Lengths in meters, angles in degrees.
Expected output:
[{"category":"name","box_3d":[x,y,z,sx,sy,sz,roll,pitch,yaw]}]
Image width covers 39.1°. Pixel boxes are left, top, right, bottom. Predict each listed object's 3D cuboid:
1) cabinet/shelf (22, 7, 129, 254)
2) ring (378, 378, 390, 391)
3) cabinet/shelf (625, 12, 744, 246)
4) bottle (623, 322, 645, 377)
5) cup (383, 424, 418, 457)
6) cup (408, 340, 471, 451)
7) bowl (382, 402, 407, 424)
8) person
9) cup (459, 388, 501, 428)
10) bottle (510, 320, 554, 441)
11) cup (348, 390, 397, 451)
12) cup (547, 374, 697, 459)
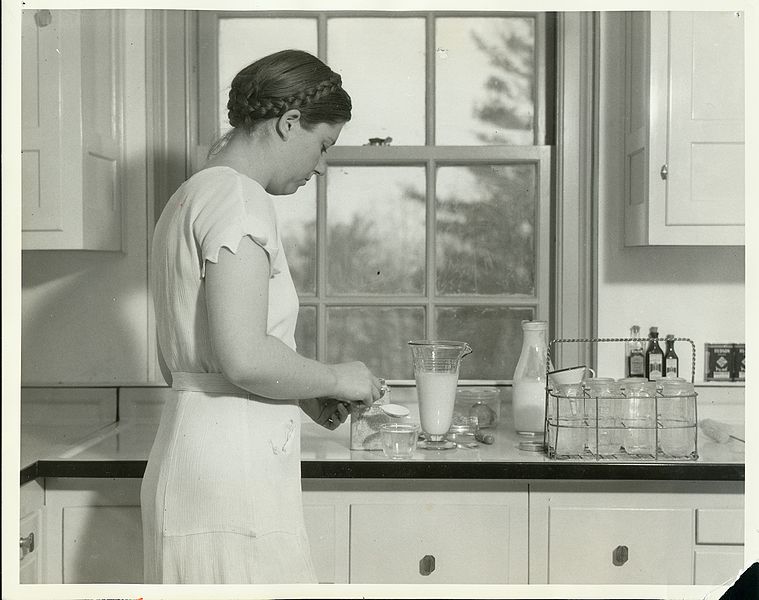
[{"category":"cabinet/shelf","box_3d":[-0.872,-0.512,3.142,0.148,0.732,0.416,2,2,23]},{"category":"ring","box_3d":[0.007,0.227,2.881,0.038,0.023,0.059,0,-3,3]},{"category":"cabinet/shelf","box_3d":[0.895,-0.518,3.177,0.369,0.710,0.199,2,2,24]},{"category":"bottle","box_3d":[0.776,0.159,3.248,0.060,0.152,0.248,2,2,14]},{"category":"cup","box_3d":[0.051,0.379,2.865,0.074,0.069,0.084,1,-12,1]},{"category":"cup","box_3d":[0.172,0.263,3.020,0.163,0.293,0.129,2,2,18]},{"category":"bowl","box_3d":[0.042,0.320,2.998,0.058,0.016,0.050,12,20,-2]},{"category":"person","box_3d":[-0.278,0.038,2.504,0.492,1.231,0.334,0,2,-39]},{"category":"cup","box_3d":[0.293,0.320,3.127,0.104,0.089,0.109,1,-8,0]},{"category":"bottle","box_3d":[0.434,0.231,3.068,0.102,0.331,0.188,1,1,7]},{"category":"cup","box_3d":[-0.029,0.333,3.034,0.111,0.228,0.127,-9,-18,-5]},{"category":"cup","box_3d":[0.660,0.319,2.908,0.411,0.210,0.184,2,2,9]}]
